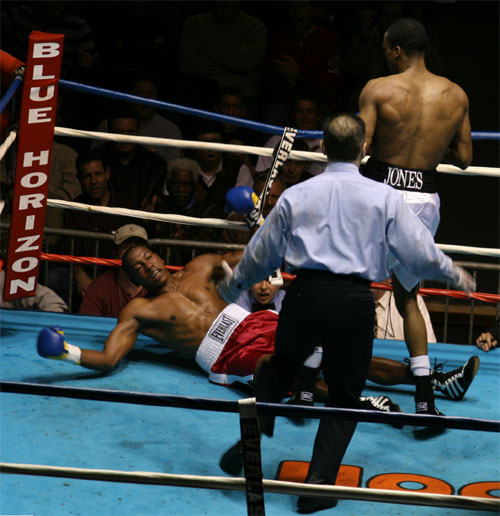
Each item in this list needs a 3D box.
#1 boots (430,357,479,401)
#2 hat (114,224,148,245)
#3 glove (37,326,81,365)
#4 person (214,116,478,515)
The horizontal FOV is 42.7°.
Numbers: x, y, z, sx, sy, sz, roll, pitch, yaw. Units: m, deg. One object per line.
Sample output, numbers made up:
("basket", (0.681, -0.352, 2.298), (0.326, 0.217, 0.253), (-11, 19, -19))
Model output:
("boots", (1.045, 0.624, 3.256), (0.179, 0.232, 0.081), (30, 38, -3))
("hat", (-0.775, -0.151, 4.162), (0.275, 0.106, 0.340), (-1, 1, -14))
("glove", (-0.913, 0.430, 3.090), (0.209, 0.204, 0.194), (8, 9, -11))
("person", (0.323, 0.041, 2.397), (0.841, 1.145, 0.348), (16, 10, 27))
